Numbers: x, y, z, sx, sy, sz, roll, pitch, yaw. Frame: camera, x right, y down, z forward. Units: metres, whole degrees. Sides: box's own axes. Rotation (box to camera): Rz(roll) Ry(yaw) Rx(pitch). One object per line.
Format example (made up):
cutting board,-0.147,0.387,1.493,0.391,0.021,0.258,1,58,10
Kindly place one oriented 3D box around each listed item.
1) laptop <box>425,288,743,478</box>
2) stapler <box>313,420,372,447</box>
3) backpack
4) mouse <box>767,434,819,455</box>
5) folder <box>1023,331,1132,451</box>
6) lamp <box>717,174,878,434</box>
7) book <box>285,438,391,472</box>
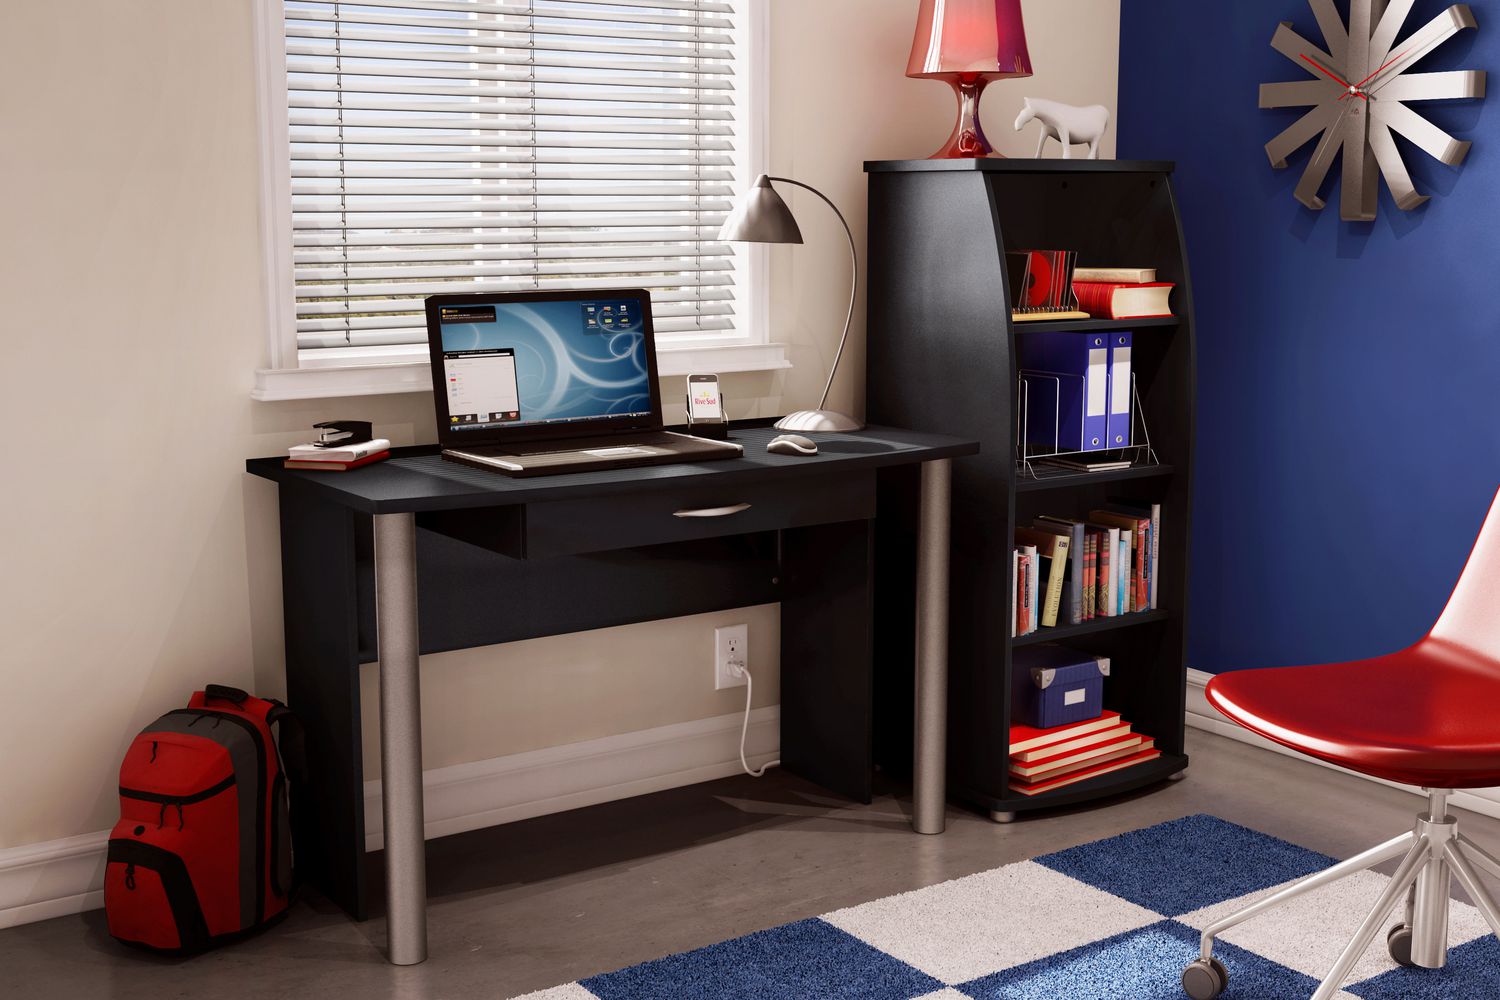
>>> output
laptop,-0.447,-0.305,2.821,0.723,0.439,0.519,-5,10,-35
stapler,-0.969,-0.165,2.795,0.052,0.071,0.202,2,6,33
backpack,-1.277,0.708,2.741,0.420,0.561,0.530,5,7,30
mouse,0.105,-0.140,2.862,0.090,0.031,0.064,5,8,25
folder,0.899,-0.318,3.441,0.316,0.394,0.414,-6,10,-23
lamp,0.130,-0.557,3.207,0.360,0.699,0.555,1,13,5
book,-0.946,-0.113,2.692,0.152,0.051,0.225,9,16,35
